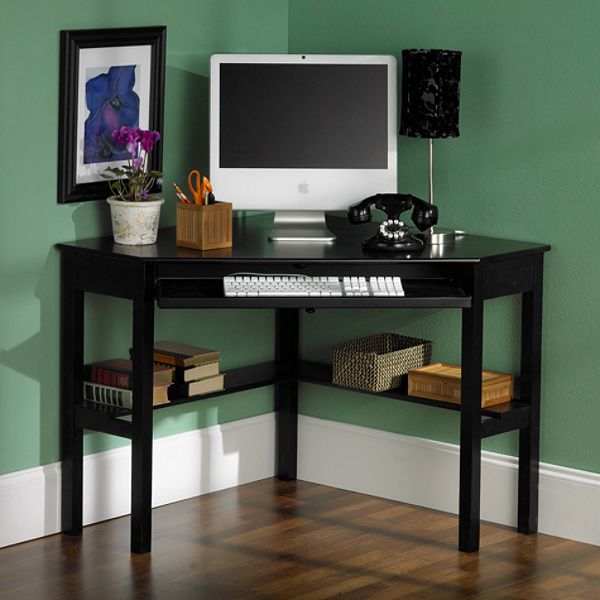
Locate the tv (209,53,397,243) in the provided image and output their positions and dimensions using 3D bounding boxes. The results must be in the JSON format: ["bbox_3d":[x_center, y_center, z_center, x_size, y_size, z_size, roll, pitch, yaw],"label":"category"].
[{"bbox_3d":[0.009,-0.486,2.073,0.572,0.572,0.188,0,3,0],"label":"tv"}]

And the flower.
[{"bbox_3d":[-0.467,-0.388,1.965,0.161,0.214,0.161,2,14,-19],"label":"flower"}]

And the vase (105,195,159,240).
[{"bbox_3d":[-0.475,-0.233,1.956,0.152,0.121,0.156,13,17,40],"label":"vase"}]

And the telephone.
[{"bbox_3d":[0.274,-0.228,1.986,0.249,0.170,0.186,0,6,9],"label":"telephone"}]

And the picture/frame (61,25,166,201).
[{"bbox_3d":[-0.561,-0.562,2.000,0.023,0.587,0.501,10,15,35],"label":"picture/frame"}]

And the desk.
[{"bbox_3d":[0.015,0.202,2.036,1.145,0.944,1.072,1,1,41],"label":"desk"}]

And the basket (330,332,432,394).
[{"bbox_3d":[0.243,0.171,2.212,0.207,0.129,0.215,3,9,39],"label":"basket"}]
